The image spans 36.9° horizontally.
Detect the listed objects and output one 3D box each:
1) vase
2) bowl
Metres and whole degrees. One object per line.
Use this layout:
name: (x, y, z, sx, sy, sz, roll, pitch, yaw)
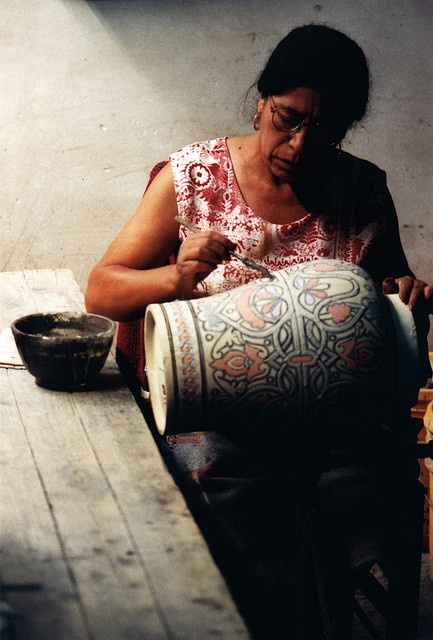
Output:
vase: (0.064, 0.048, 0.962, 0.349, 0.212, 0.236, -7, -7, -7)
bowl: (-0.255, 0.050, 1.109, 0.169, 0.084, 0.154, 2, 11, 0)
